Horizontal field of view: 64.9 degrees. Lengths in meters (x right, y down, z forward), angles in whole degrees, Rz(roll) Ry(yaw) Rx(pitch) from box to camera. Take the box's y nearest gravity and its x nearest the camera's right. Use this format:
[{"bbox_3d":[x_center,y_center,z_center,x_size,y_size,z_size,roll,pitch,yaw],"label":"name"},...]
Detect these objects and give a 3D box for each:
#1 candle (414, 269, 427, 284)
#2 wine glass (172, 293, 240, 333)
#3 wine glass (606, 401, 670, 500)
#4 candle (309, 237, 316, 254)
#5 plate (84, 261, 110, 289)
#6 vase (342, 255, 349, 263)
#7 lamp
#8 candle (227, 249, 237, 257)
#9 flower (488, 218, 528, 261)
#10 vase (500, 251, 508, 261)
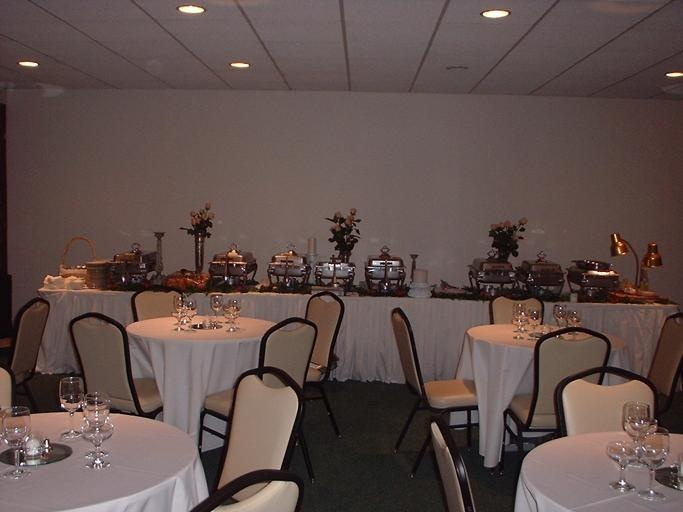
[{"bbox_3d":[0.877,0.226,5.937,0.126,0.136,0.134,0,5,-5],"label":"candle"},{"bbox_3d":[-1.076,0.426,4.359,0.473,0.210,0.296,-2,6,-25],"label":"wine glass"},{"bbox_3d":[1.326,0.834,2.395,0.234,0.325,0.367,7,10,33],"label":"wine glass"},{"bbox_3d":[-0.349,-0.108,6.334,0.090,0.183,0.152,0,9,-8],"label":"candle"},{"bbox_3d":[-2.653,0.204,5.914,0.261,0.290,0.283,1,2,9],"label":"plate"},{"bbox_3d":[0.048,0.035,6.150,0.077,0.094,0.081,0,7,1],"label":"vase"},{"bbox_3d":[3.509,0.082,6.428,0.538,0.857,0.691,-6,3,-18],"label":"lamp"},{"bbox_3d":[-1.224,-0.028,6.055,0.087,0.066,0.092,5,5,22],"label":"candle"},{"bbox_3d":[1.989,-0.183,6.464,0.465,0.572,0.922,4,9,17],"label":"flower"},{"bbox_3d":[1.859,0.007,6.164,0.078,0.067,0.084,-4,9,-15],"label":"vase"}]
